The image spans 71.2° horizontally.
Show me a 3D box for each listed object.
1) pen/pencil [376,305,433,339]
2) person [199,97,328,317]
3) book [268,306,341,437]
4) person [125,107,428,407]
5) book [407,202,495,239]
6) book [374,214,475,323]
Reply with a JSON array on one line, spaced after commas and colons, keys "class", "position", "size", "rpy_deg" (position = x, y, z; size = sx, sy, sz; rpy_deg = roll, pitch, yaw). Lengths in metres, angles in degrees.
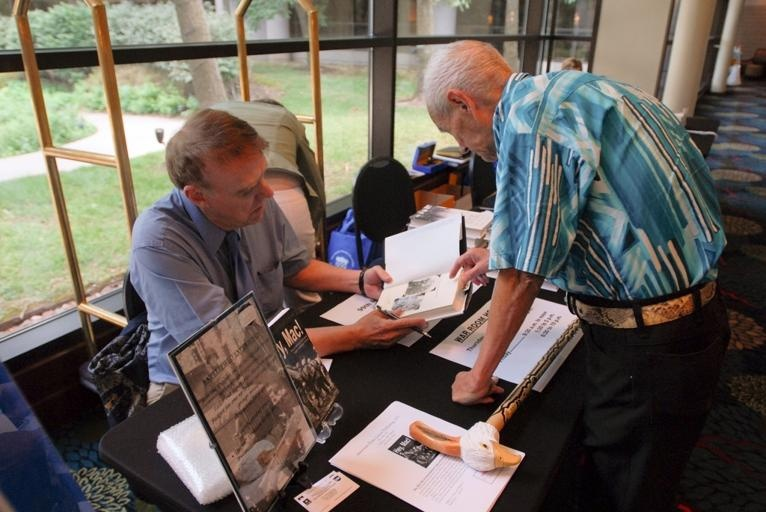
[{"class": "pen/pencil", "position": [0.081, 0.243, 1.913], "size": [0.204, 0.023, 0.021], "rpy_deg": [31, -6, 26]}, {"class": "person", "position": [-0.544, -0.271, 2.708], "size": [0.421, 1.279, 0.349], "rpy_deg": [-3, -11, -17]}, {"class": "book", "position": [-0.229, 0.355, 1.570], "size": [0.120, 0.339, 0.263], "rpy_deg": [-23, 15, 16]}, {"class": "person", "position": [-0.432, -0.003, 2.082], "size": [1.049, 1.405, 0.579], "rpy_deg": [8, 49, 13]}, {"class": "book", "position": [0.325, -0.169, 2.556], "size": [0.271, 0.064, 0.267], "rpy_deg": [7, 17, 35]}, {"class": "book", "position": [0.138, 0.070, 2.133], "size": [0.494, 0.166, 0.397], "rpy_deg": [-22, 41, 39]}]
